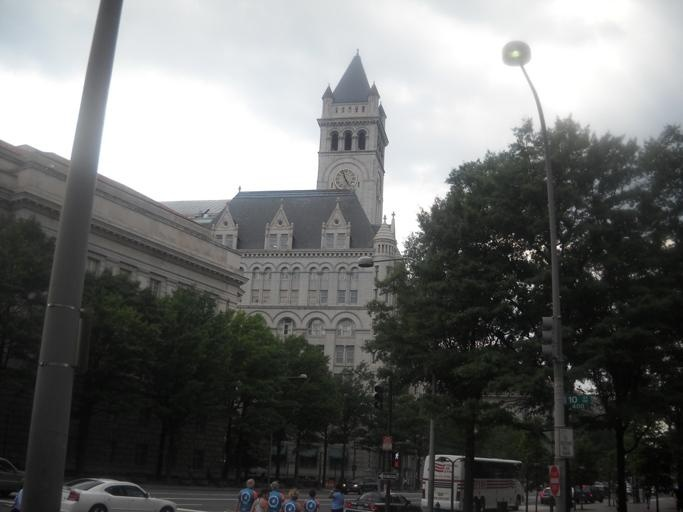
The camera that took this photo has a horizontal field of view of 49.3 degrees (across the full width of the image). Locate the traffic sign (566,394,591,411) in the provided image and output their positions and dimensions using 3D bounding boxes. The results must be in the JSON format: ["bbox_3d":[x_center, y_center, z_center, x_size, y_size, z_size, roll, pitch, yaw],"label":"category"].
[{"bbox_3d":[7.797,4.727,24.525,0.676,0.484,0.797,1,-20,7],"label":"traffic sign"}]

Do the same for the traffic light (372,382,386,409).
[{"bbox_3d":[1.796,6.718,35.465,0.397,1.189,1.081,3,-20,0],"label":"traffic light"}]

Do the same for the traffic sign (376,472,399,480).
[{"bbox_3d":[2.142,10.071,34.061,0.812,0.335,1.797,3,-20,2],"label":"traffic sign"}]
